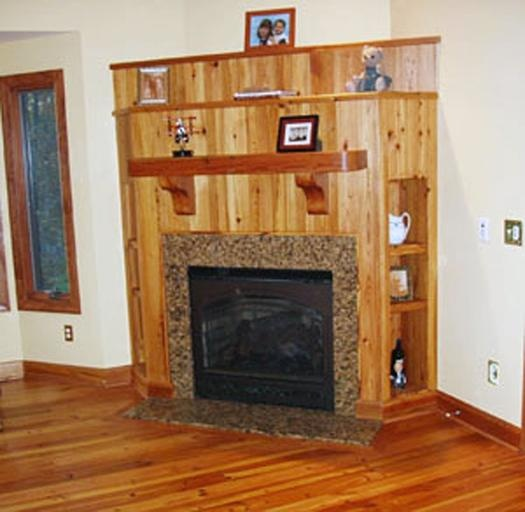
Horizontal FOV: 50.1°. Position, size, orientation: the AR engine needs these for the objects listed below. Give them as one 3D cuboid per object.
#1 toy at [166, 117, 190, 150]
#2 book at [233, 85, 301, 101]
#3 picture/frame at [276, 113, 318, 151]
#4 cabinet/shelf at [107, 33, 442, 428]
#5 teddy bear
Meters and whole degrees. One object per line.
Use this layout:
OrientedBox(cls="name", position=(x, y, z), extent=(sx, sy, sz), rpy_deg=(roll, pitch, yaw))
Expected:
OrientedBox(cls="toy", position=(-0.477, -0.704, 3.235), extent=(0.130, 0.178, 0.058), rpy_deg=(19, 43, 31))
OrientedBox(cls="book", position=(0.033, -0.937, 3.237), extent=(0.349, 0.096, 0.370), rpy_deg=(-1, 11, 7))
OrientedBox(cls="picture/frame", position=(0.189, -0.657, 3.000), extent=(0.211, 0.196, 0.018), rpy_deg=(-2, -18, 23))
OrientedBox(cls="cabinet/shelf", position=(-0.027, -0.097, 3.366), extent=(2.058, 2.165, 0.660), rpy_deg=(1, 11, 24))
OrientedBox(cls="teddy bear", position=(0.585, -1.007, 3.094), extent=(0.245, 0.286, 0.256), rpy_deg=(3, 9, 14))
